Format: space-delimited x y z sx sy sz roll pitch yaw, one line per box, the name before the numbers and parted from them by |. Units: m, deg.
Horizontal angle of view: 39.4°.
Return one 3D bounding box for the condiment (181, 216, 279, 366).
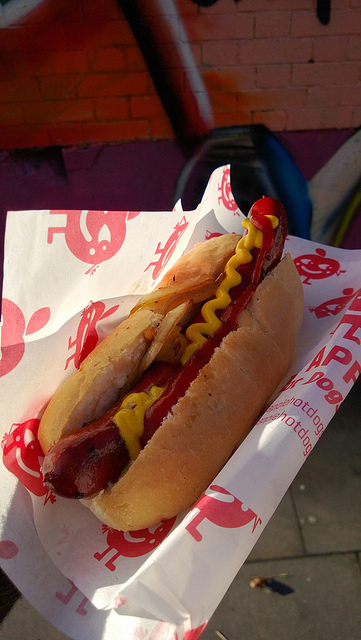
condiment | 0.168 -0.113 2.005 0.799 0.187 0.130 -55 17 -13
